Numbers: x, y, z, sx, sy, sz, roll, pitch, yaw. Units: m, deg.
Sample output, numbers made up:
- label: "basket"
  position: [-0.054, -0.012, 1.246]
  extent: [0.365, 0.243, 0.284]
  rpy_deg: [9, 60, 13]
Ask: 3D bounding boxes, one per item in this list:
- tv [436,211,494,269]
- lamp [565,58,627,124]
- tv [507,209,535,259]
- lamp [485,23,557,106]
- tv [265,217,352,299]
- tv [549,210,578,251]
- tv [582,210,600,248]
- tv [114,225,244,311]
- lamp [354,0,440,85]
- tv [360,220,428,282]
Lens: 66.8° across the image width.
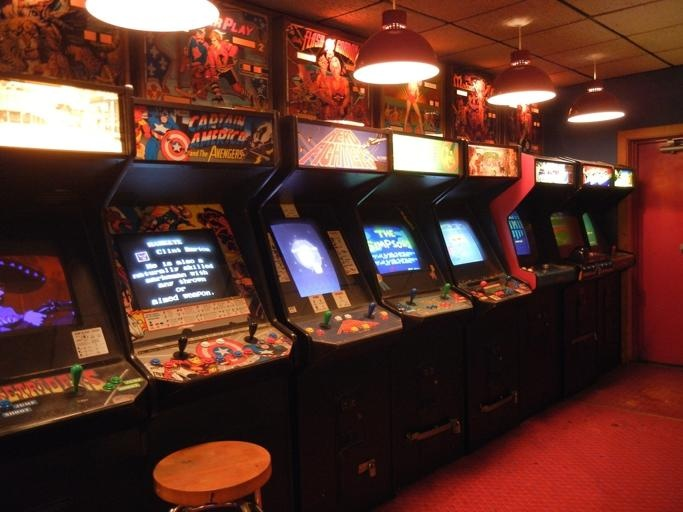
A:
- label: "tv"
  position: [0.974, -0.111, 4.163]
  extent: [0.455, 0.402, 0.105]
  rpy_deg: [-7, -15, -44]
- label: "lamp"
  position: [2.439, -1.625, 4.960]
  extent: [0.544, 0.541, 0.531]
  rpy_deg: [-18, 18, -39]
- label: "tv"
  position: [1.627, -0.188, 4.715]
  extent: [0.322, 0.430, 0.106]
  rpy_deg: [1, -18, -36]
- label: "lamp"
  position: [1.455, -1.443, 4.179]
  extent: [0.543, 0.329, 0.565]
  rpy_deg: [1, 5, 25]
- label: "tv"
  position: [-0.210, 0.008, 3.145]
  extent: [0.254, 0.424, 0.368]
  rpy_deg: [7, 10, 42]
- label: "tv"
  position: [2.376, -0.284, 5.468]
  extent: [0.217, 0.366, 0.699]
  rpy_deg: [5, 9, 33]
- label: "tv"
  position: [2.861, -0.303, 5.924]
  extent: [0.190, 0.388, 0.558]
  rpy_deg: [4, 8, 26]
- label: "tv"
  position: [-0.870, 0.073, 2.673]
  extent: [0.533, 0.359, 0.021]
  rpy_deg: [-8, -30, -35]
- label: "lamp"
  position: [0.294, -1.255, 3.330]
  extent: [0.540, 0.569, 0.547]
  rpy_deg: [-1, -1, -4]
- label: "tv"
  position: [0.320, -0.011, 3.739]
  extent: [0.456, 0.373, 0.245]
  rpy_deg: [-4, -19, -24]
